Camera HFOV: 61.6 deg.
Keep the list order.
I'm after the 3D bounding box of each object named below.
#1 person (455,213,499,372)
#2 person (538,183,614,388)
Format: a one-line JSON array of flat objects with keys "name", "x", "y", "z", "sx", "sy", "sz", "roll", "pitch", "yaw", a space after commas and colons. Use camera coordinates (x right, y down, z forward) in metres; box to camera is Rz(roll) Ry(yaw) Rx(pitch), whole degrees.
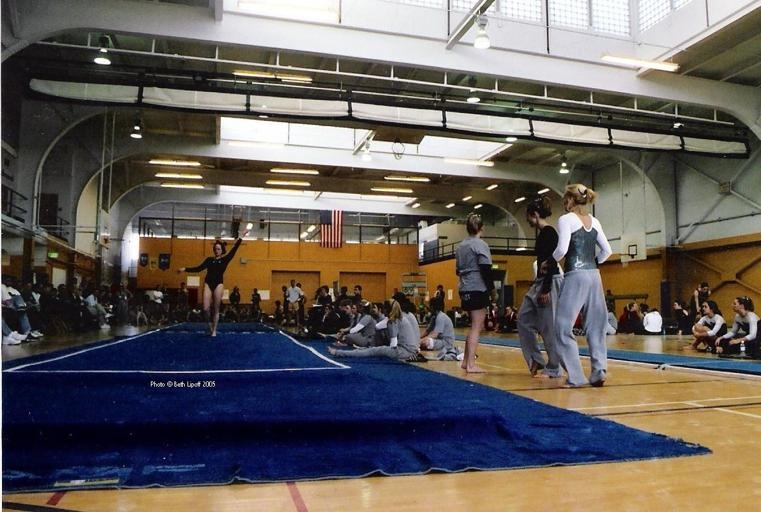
[{"name": "person", "x": 1.176, "y": 0.412, "z": 7.913, "sx": 0.464, "sy": 1.992, "sz": 0.761, "roll": 0, "pitch": -5, "yaw": 9}, {"name": "person", "x": 2.272, "y": 0.274, "z": 7.145, "sx": 0.597, "sy": 2.304, "sz": 0.623, "roll": -1, "pitch": -5, "yaw": 18}]
